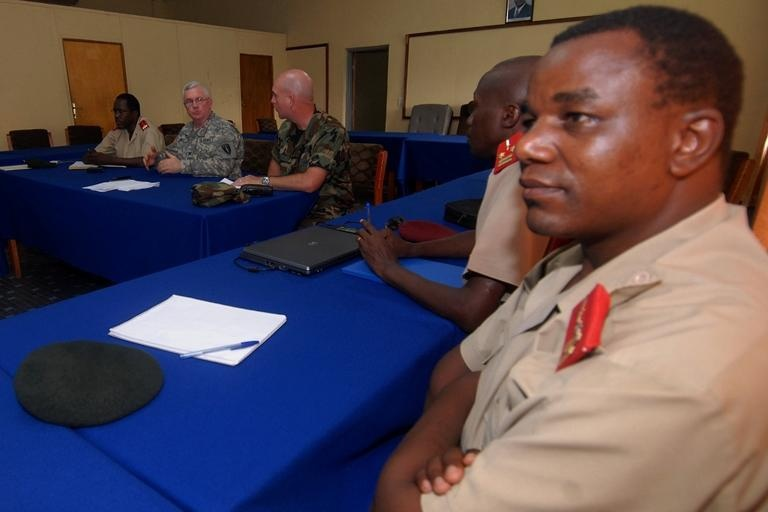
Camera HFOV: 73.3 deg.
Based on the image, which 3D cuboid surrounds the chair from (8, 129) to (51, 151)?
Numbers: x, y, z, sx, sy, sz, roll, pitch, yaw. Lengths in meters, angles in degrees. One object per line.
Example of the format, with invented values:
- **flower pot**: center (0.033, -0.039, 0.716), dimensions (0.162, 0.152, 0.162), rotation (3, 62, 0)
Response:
- **chair**: center (-3.529, -1.150, 5.123), dimensions (0.204, 0.164, 0.516), rotation (0, 21, -3)

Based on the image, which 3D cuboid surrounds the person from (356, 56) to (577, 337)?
- **person**: center (0.268, -0.243, 1.622), dimensions (0.619, 0.645, 0.851), rotation (6, 20, 20)

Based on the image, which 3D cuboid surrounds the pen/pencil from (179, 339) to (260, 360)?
- **pen/pencil**: center (-0.363, 0.205, 1.128), dimensions (0.125, 0.013, 0.018), rotation (-8, 21, -25)

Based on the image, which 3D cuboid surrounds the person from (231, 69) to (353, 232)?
- **person**: center (-0.446, -0.663, 3.261), dimensions (0.881, 0.991, 0.919), rotation (-9, 27, -25)
